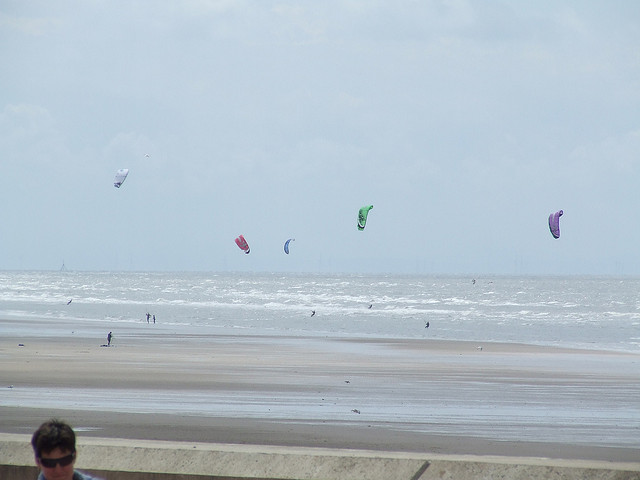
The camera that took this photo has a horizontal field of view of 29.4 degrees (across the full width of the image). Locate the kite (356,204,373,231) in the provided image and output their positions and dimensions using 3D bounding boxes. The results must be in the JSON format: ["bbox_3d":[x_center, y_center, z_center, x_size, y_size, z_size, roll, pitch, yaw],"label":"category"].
[{"bbox_3d":[0.971,-0.528,28.561,0.223,0.641,0.545,5,0,44],"label":"kite"}]

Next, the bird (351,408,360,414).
[{"bbox_3d":[0.793,3.620,25.899,0.202,0.103,0.054,4,-1,14],"label":"bird"}]
